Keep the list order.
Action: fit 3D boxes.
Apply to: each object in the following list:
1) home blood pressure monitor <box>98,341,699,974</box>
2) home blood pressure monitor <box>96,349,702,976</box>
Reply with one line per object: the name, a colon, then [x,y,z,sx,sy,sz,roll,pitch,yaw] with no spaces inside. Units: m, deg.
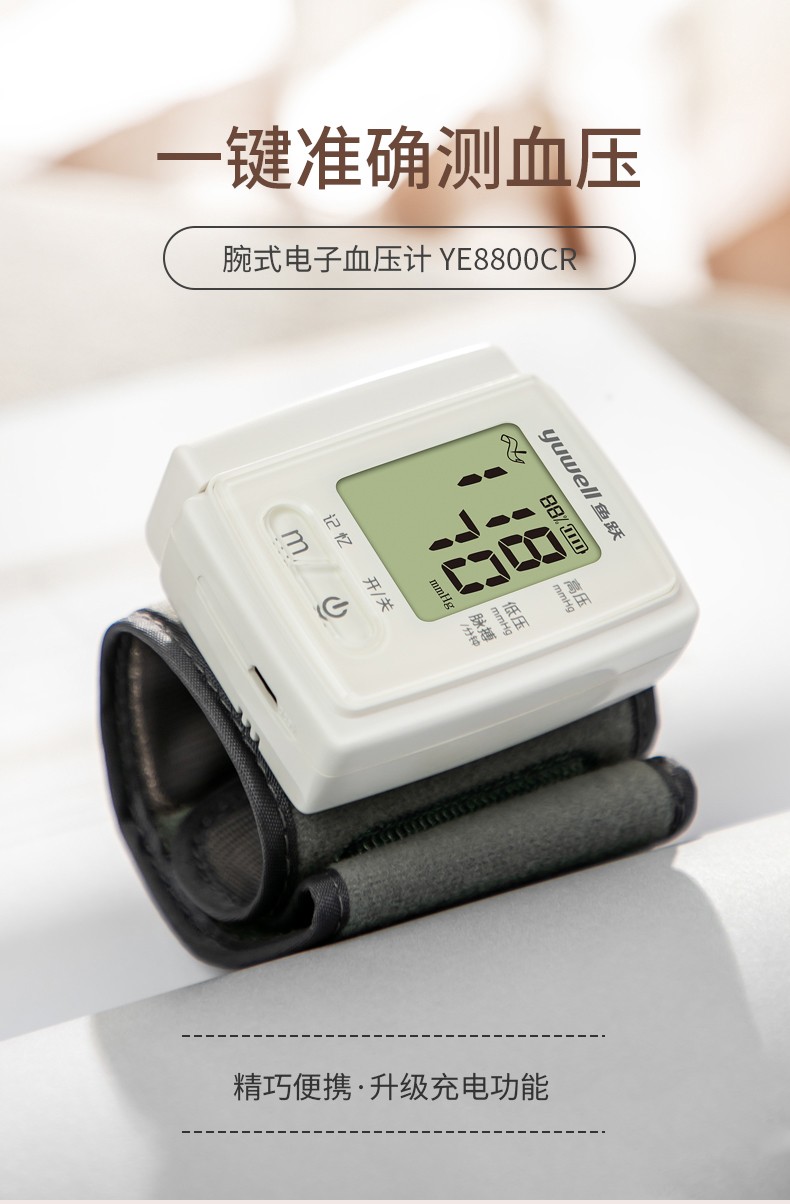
home blood pressure monitor: [0.016,-0.007,0.864,0.329,0.206,0.405,-26,70,-21]
home blood pressure monitor: [-0.045,-0.006,0.944,0.423,0.518,0.272,-20,-9,-18]
